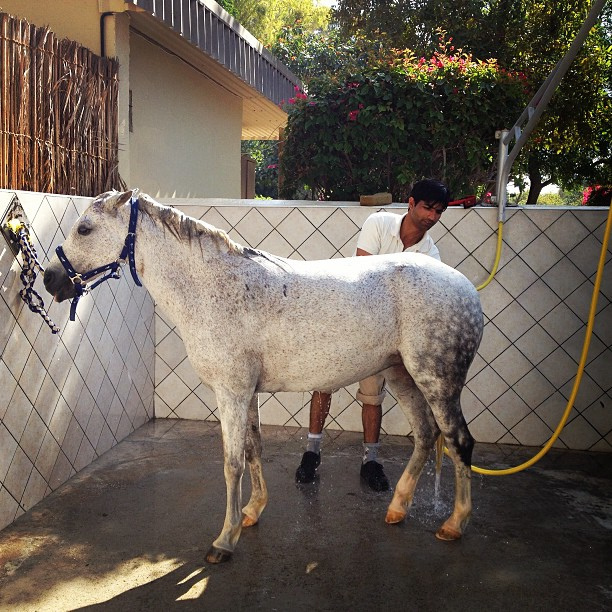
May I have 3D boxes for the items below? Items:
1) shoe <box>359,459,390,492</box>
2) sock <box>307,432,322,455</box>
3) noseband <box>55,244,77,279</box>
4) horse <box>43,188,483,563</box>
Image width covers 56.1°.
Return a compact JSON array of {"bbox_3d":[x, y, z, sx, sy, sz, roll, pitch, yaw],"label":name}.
[{"bbox_3d":[0.425,1.053,3.589,0.109,0.153,0.186,-14,39,-25],"label":"shoe"},{"bbox_3d":[0.063,0.910,3.811,0.092,0.110,0.156,-5,50,23],"label":"sock"},{"bbox_3d":[-1.098,-0.203,2.610,0.096,0.145,0.031,3,5,21],"label":"noseband"},{"bbox_3d":[-0.186,0.386,3.032,2.118,2.151,0.670,-3,17,2],"label":"horse"}]
